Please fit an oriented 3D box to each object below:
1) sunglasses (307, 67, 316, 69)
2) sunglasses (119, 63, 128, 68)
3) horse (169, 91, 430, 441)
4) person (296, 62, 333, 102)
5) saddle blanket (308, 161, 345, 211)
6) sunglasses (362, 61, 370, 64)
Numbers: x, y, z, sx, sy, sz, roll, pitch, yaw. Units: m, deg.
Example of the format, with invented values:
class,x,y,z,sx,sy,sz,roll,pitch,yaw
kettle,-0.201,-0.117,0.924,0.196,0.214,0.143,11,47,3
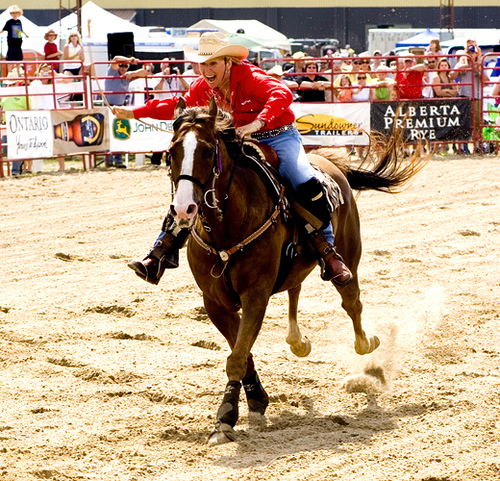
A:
class,x,y,z,sx,sy,sz,roll,pitch,yaw
sunglasses,1.184,-3.373,16.272,0.154,0.037,0.075,-3,6,-12
sunglasses,-2.363,-3.248,15.476,0.055,0.076,0.192,4,8,43
horse,0.395,-0.014,6.546,1.025,2.144,4.062,0,9,28
person,1.255,-3.002,16.276,0.731,0.648,1.258,-6,2,3
saddle blanket,0.554,-0.406,6.044,0.249,0.339,0.684,-2,6,6
sunglasses,2.299,-3.562,16.651,0.136,0.061,0.116,-2,6,0
